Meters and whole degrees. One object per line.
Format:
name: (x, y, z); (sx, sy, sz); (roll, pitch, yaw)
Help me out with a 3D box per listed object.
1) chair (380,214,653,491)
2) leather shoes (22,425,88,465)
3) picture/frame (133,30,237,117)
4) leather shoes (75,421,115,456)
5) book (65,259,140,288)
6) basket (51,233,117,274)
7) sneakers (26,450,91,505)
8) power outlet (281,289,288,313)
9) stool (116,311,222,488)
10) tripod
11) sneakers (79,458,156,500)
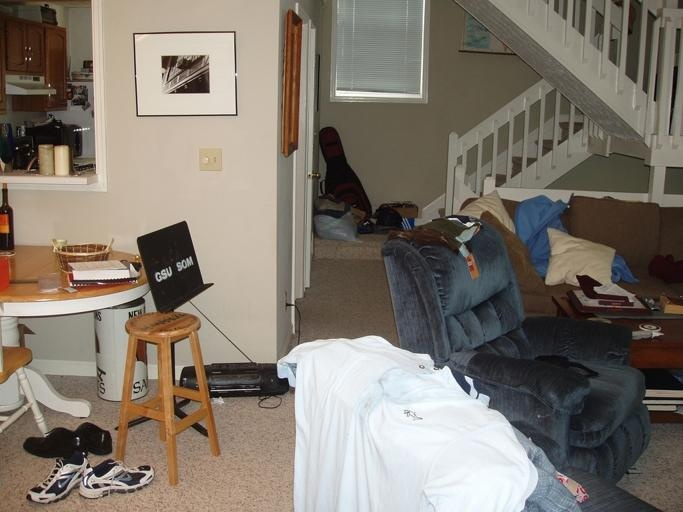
chair: (0.923, 0.492, 2.934); (1.116, 1.154, 1.051); (5, 13, 34)
leather shoes: (-1.452, 0.952, 2.904); (0.324, 0.138, 0.139); (4, 11, 0)
picture/frame: (-0.899, -1.089, 3.342); (0.440, 0.358, 0.011); (0, 9, 2)
leather shoes: (-1.299, 0.930, 2.964); (0.251, 0.108, 0.094); (17, 19, 24)
book: (-1.229, 0.078, 2.994); (0.361, 0.097, 0.263); (-5, 10, -23)
basket: (-1.447, -0.051, 3.224); (0.281, 0.156, 0.255); (-5, -8, -17)
sneakers: (-1.318, 1.025, 2.725); (0.120, 0.142, 0.300); (25, 27, 19)
power outlet: (-0.394, 0.308, 3.929); (0.059, 0.135, 0.163); (-1, 8, 3)
stool: (-0.884, 0.700, 2.896); (0.483, 0.697, 0.497); (-1, 3, -7)
tripod: (-0.927, 0.652, 3.135); (0.498, 0.512, 0.523); (1, 11, 1)
sneakers: (-1.056, 1.050, 2.713); (0.328, 0.158, 0.140); (-2, 8, -24)
